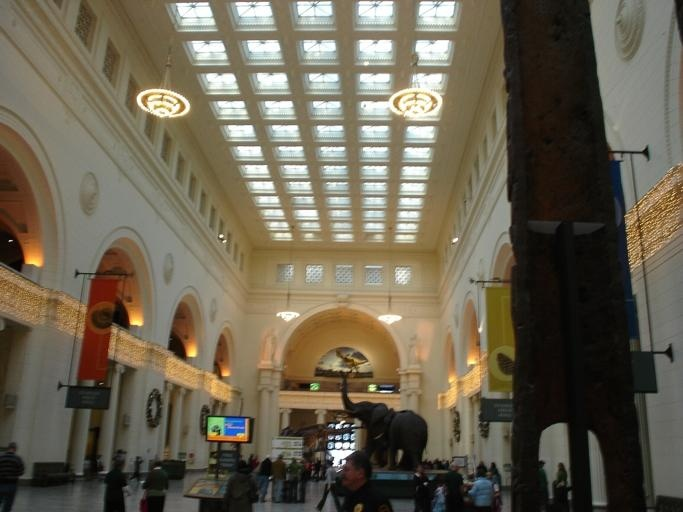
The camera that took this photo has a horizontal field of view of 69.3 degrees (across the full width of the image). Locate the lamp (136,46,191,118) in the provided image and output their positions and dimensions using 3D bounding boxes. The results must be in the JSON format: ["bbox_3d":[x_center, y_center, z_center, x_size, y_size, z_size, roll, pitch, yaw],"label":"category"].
[{"bbox_3d":[-6.441,-6.402,17.673,1.784,2.810,1.876,7,-41,-11],"label":"lamp"}]

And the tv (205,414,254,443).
[{"bbox_3d":[-2.852,4.343,12.430,0.983,0.732,0.964,-8,-28,23],"label":"tv"}]
